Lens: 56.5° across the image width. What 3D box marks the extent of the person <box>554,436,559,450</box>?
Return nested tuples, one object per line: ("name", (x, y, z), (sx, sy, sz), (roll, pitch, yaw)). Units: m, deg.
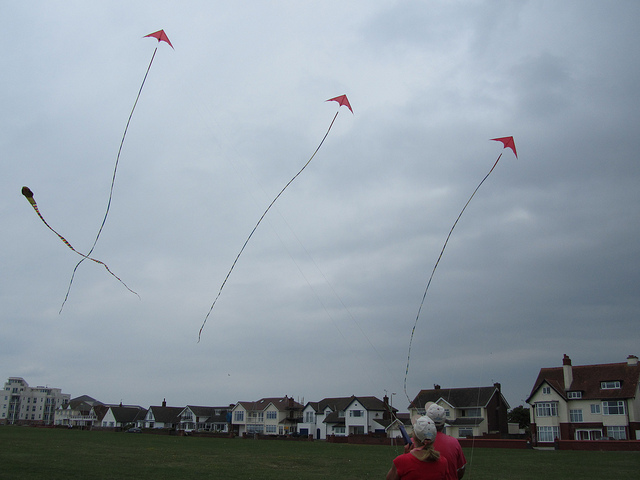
("person", (24.740, 21.258, 62.068), (0.450, 1.080, 1.482), (-4, -20, 19))
